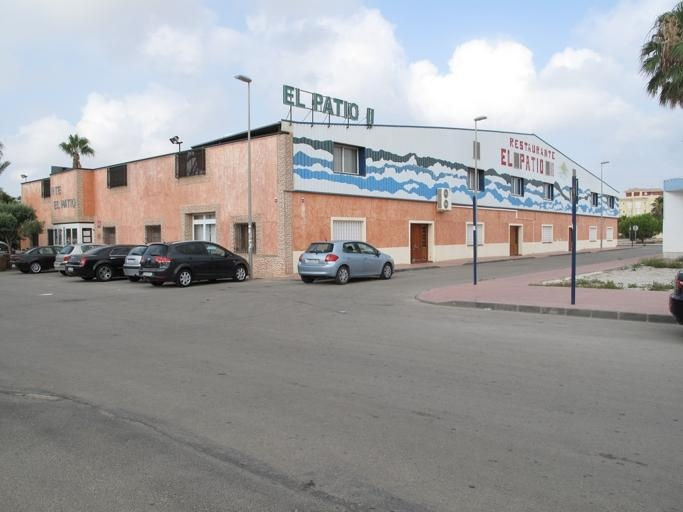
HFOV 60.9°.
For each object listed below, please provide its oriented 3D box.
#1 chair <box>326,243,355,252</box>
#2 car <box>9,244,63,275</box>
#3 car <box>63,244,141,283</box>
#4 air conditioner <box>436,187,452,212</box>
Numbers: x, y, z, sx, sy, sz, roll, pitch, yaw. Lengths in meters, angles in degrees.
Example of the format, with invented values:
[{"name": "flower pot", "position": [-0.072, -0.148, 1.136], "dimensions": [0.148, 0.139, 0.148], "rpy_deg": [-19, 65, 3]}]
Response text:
[{"name": "chair", "position": [0.041, -0.292, 21.062], "dimensions": [0.723, 0.421, 0.415], "rpy_deg": [-8, 11, -29]}, {"name": "car", "position": [-15.318, 0.224, 29.637], "dimensions": [1.324, 1.189, 2.884], "rpy_deg": [3, 5, 45]}, {"name": "car", "position": [-9.690, 0.293, 23.848], "dimensions": [1.395, 1.173, 3.124], "rpy_deg": [2, 5, 44]}, {"name": "air conditioner", "position": [5.985, -3.286, 33.837], "dimensions": [0.402, 1.484, 1.257], "rpy_deg": [-2, -4, 27]}]
